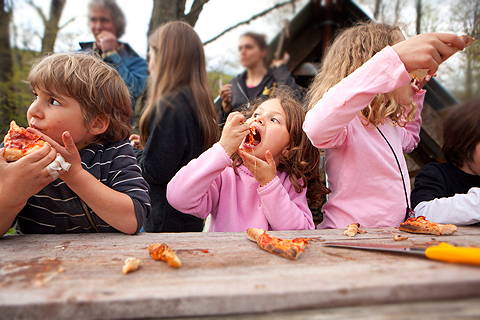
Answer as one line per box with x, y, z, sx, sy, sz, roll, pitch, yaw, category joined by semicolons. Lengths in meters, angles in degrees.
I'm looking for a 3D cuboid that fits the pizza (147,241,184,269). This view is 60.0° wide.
-0.334;0.408;1.834;0.062;0.066;0.186;31;-8;-42;pizza

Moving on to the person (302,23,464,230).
0.836;-0.206;2.672;0.846;1.312;0.774;2;15;8;person

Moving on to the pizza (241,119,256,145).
0.055;-0.162;2.604;0.036;0.099;0.073;11;-1;-19;pizza

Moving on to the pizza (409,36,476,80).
1.155;-0.604;2.492;0.311;0.268;0.578;2;14;8;pizza

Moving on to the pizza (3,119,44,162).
-1.109;-0.092;2.144;0.193;0.040;0.185;27;47;10;pizza

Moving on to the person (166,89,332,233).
0.051;0.029;2.599;0.704;1.093;0.607;9;-16;23;person
